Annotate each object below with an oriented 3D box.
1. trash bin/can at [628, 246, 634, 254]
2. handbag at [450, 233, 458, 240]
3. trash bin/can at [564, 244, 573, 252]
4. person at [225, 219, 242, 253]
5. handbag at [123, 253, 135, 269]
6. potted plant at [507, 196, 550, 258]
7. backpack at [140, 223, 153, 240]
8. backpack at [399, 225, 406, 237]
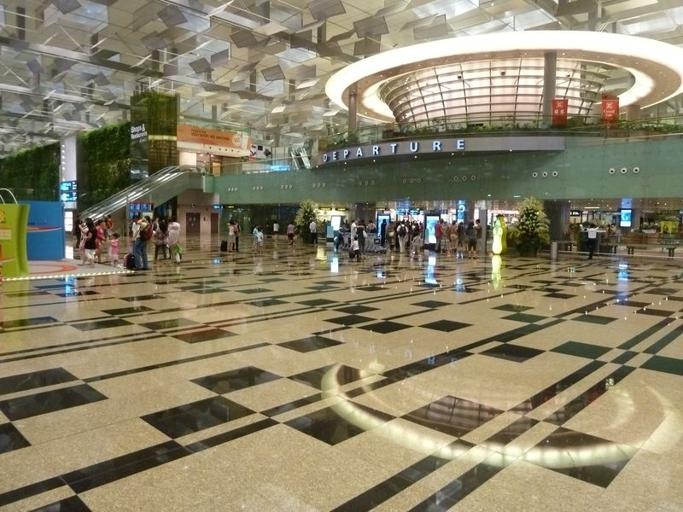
[{"bbox_3d":[13.327,-0.297,22.136,0.329,0.320,0.332,4,5,40],"label":"trash bin/can"},{"bbox_3d":[5.305,-0.928,22.795,0.302,0.206,0.317,-2,-7,17],"label":"handbag"},{"bbox_3d":[11.135,-0.422,23.844,0.396,0.343,0.697,-4,-5,18],"label":"trash bin/can"},{"bbox_3d":[-4.877,-0.880,21.590,0.478,1.382,1.899,-3,5,-15],"label":"person"},{"bbox_3d":[-6.341,0.149,14.414,0.285,0.474,0.451,-3,5,-22],"label":"handbag"},{"bbox_3d":[8.396,-1.294,21.296,1.400,2.578,0.727,0,5,17],"label":"potted plant"},{"bbox_3d":[-5.778,-0.707,14.184,0.333,0.491,0.681,-3,5,-22],"label":"backpack"},{"bbox_3d":[2.941,-1.253,23.243,0.398,0.625,0.428,-1,5,2],"label":"backpack"}]
